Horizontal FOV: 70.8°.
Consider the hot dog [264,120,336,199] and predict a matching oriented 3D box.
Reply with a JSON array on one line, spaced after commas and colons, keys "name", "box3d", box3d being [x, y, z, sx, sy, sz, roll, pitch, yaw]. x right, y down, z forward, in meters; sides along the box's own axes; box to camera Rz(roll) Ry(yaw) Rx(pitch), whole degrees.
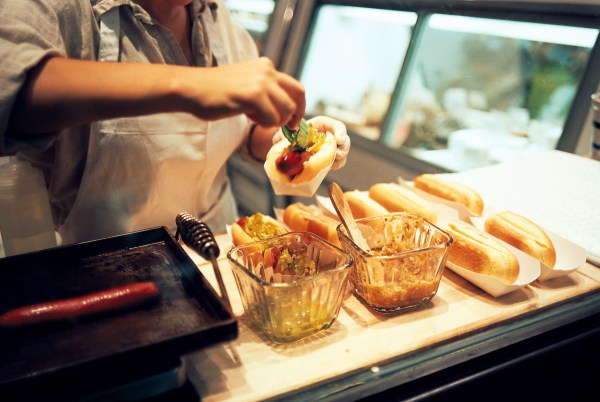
[{"name": "hot dog", "box3d": [-0.004, -0.118, 1.318, 0.212, 0.171, 0.214, 9, 26, 3]}]

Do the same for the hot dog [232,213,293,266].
[{"name": "hot dog", "box3d": [-0.142, 0.100, 1.416, 0.172, 0.092, 0.150, 28, 32, 36]}]

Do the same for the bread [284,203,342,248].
[{"name": "bread", "box3d": [0.040, 0.077, 1.473, 0.098, 0.064, 0.198, -1, 24, -43]}]

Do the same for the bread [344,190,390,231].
[{"name": "bread", "box3d": [0.235, 0.013, 1.558, 0.123, 0.069, 0.257, 1, 26, -14]}]

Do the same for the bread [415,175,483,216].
[{"name": "bread", "box3d": [0.555, -0.034, 1.611, 0.227, 0.073, 0.107, 26, 18, 37]}]

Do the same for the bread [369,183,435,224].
[{"name": "bread", "box3d": [0.359, -0.004, 1.503, 0.223, 0.102, 0.084, 24, 58, 34]}]
